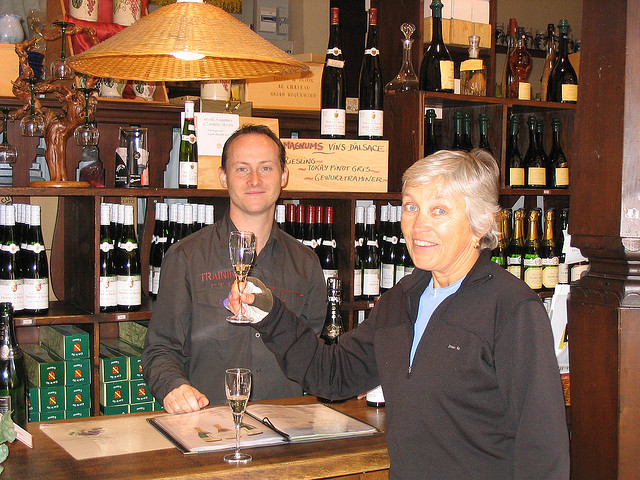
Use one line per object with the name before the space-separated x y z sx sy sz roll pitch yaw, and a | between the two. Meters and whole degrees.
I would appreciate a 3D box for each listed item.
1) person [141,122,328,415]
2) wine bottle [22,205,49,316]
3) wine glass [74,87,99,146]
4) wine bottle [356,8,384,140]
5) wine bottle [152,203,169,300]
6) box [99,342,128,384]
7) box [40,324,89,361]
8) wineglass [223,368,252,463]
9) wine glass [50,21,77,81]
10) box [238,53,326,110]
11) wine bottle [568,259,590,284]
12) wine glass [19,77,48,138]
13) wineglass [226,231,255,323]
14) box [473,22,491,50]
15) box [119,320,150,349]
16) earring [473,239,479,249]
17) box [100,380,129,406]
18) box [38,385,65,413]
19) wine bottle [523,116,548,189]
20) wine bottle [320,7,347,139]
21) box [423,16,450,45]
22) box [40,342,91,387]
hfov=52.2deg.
person | -0.309 0.196 2.719 0.763 1.301 0.604 -1 10 -20
wine bottle | -1.311 0.121 3.010 0.118 0.554 0.134 1 6 -28
wine glass | -1.049 -0.556 2.914 0.100 0.264 0.155 -3 5 -20
wine bottle | 0.257 -0.825 3.397 0.140 0.718 0.140 0 1 0
wine bottle | -0.827 0.042 3.405 0.113 0.453 0.099 -1 0 -9
box | -0.996 0.611 3.144 0.126 0.125 0.125 -2 5 -19
box | -1.262 0.492 3.198 0.121 0.121 0.361 -4 5 -42
wineglass | -0.263 0.526 2.047 0.086 0.274 0.190 -1 5 -8
wine glass | -1.095 -0.804 2.783 0.139 0.234 0.139 -6 18 -37
box | -0.195 -0.815 3.360 0.463 0.276 0.127 -2 5 -12
wine bottle | 1.498 0.180 3.778 0.075 0.152 0.244 0 5 7
wine glass | -1.276 -0.588 2.906 0.106 0.260 0.217 -3 5 -23
wineglass | -0.269 0.117 2.222 0.087 0.324 0.087 1 7 -5
box | 0.910 -1.137 3.633 0.124 0.148 0.048 -4 6 -29
box | -0.909 0.463 3.209 0.205 0.150 0.112 1 1 45
earring | 0.488 0.012 2.041 0.016 0.021 0.009 -5 12 -17
box | -0.978 0.717 3.119 0.140 0.142 0.104 1 1 -26
box | -1.228 0.726 3.026 0.140 0.144 0.102 0 1 -17
wine bottle | 1.235 -0.511 3.778 0.126 0.409 0.143 -5 10 2
wine bottle | 0.066 -0.810 3.321 0.140 0.689 0.137 1 10 0
box | 0.616 -1.124 3.490 0.168 0.166 0.092 -1 6 -19
box | -1.144 0.590 3.034 0.116 0.132 0.096 -5 11 -45
